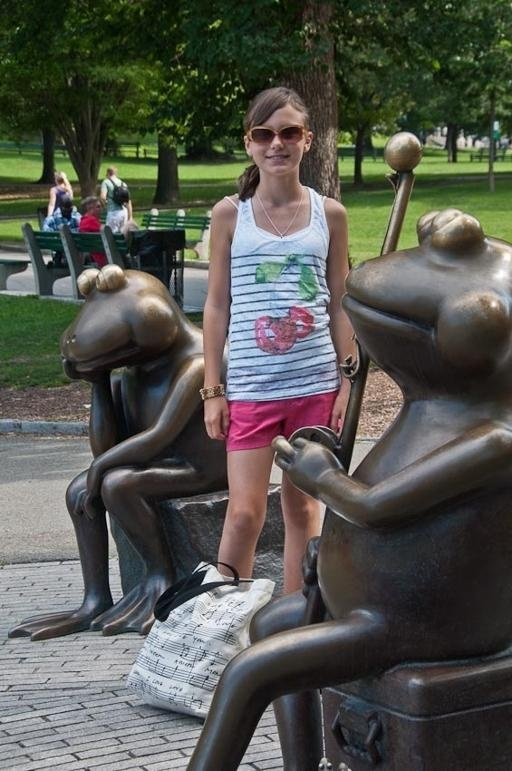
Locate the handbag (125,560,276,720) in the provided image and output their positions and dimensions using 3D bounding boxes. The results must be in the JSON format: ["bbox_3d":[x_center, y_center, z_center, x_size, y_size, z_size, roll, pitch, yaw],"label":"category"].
[{"bbox_3d":[-0.159,0.713,2.657,0.436,0.412,0.142,-1,4,25],"label":"handbag"}]

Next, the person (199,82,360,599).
[{"bbox_3d":[0.065,-0.144,2.864,0.468,1.446,0.319,-3,3,1],"label":"person"}]

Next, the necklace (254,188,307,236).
[{"bbox_3d":[0.074,-0.509,2.771,0.178,0.121,0.043,0,-11,-16],"label":"necklace"}]

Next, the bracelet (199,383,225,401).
[{"bbox_3d":[-0.136,0.018,2.886,0.065,0.033,0.049,-10,1,12],"label":"bracelet"}]
